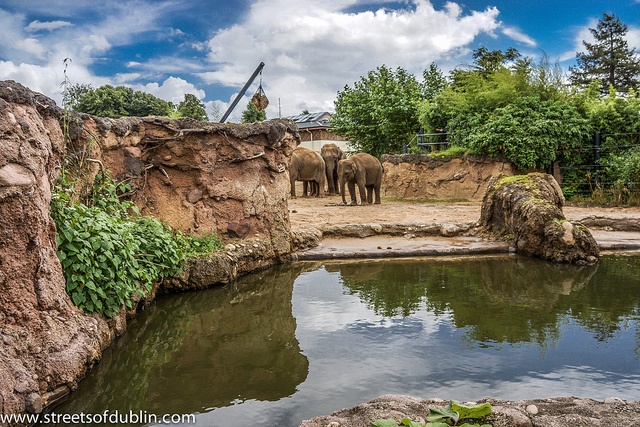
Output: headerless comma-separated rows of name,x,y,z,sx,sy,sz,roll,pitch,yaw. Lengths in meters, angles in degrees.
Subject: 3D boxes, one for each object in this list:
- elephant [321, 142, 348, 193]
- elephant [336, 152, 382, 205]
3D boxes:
elephant,0.534,-1.946,24.334,1.235,2.270,3.649,-4,3,6
elephant,1.395,-1.233,19.229,0.999,1.784,2.374,1,7,39
